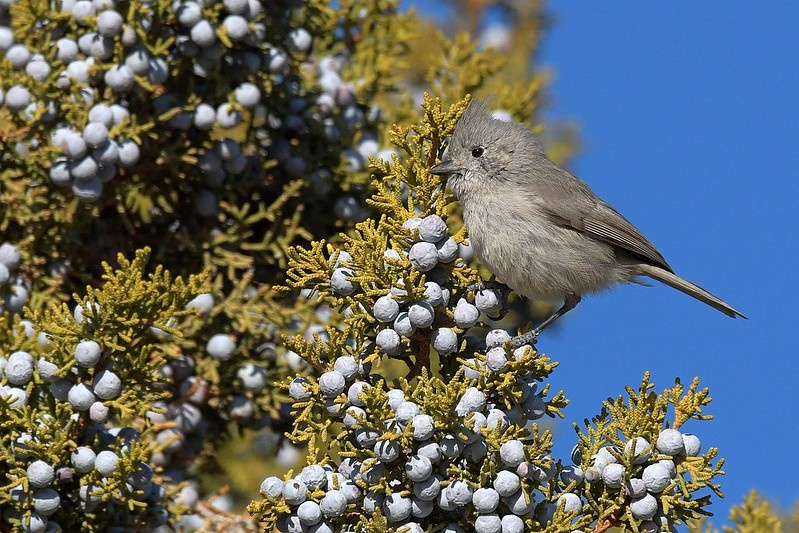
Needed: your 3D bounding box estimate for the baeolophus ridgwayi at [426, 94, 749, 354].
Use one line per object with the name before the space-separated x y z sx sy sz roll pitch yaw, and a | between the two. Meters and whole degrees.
baeolophus ridgwayi | 1.126 -0.235 5.831 1.932 1.349 0.616 5 -2 -5
